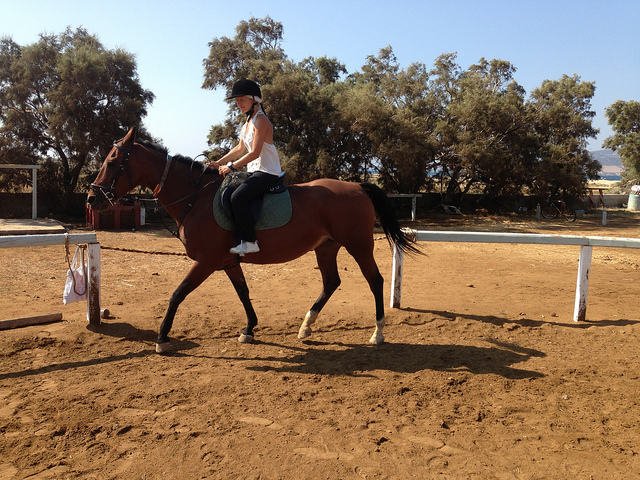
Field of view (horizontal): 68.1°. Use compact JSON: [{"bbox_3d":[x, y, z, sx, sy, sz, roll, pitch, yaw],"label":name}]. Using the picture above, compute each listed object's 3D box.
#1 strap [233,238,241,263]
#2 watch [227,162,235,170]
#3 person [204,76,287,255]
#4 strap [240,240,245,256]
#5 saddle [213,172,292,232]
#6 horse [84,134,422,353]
[{"bbox_3d":[-0.989,0.141,5.756,0.093,0.369,0.251,-2,14,-10],"label":"strap"},{"bbox_3d":[-1.088,-0.909,5.885,0.077,0.079,0.078,3,-1,-43],"label":"watch"},{"bbox_3d":[-0.832,-0.907,5.887,0.871,2.093,1.012,-3,14,-12],"label":"person"},{"bbox_3d":[-0.916,0.112,5.645,0.045,0.208,0.114,-2,14,-9],"label":"strap"},{"bbox_3d":[-0.619,-0.605,5.995,1.275,0.756,0.359,1,36,-37],"label":"saddle"},{"bbox_3d":[-0.743,-0.190,7.628,4.019,3.011,4.202,-1,15,-4],"label":"horse"}]
